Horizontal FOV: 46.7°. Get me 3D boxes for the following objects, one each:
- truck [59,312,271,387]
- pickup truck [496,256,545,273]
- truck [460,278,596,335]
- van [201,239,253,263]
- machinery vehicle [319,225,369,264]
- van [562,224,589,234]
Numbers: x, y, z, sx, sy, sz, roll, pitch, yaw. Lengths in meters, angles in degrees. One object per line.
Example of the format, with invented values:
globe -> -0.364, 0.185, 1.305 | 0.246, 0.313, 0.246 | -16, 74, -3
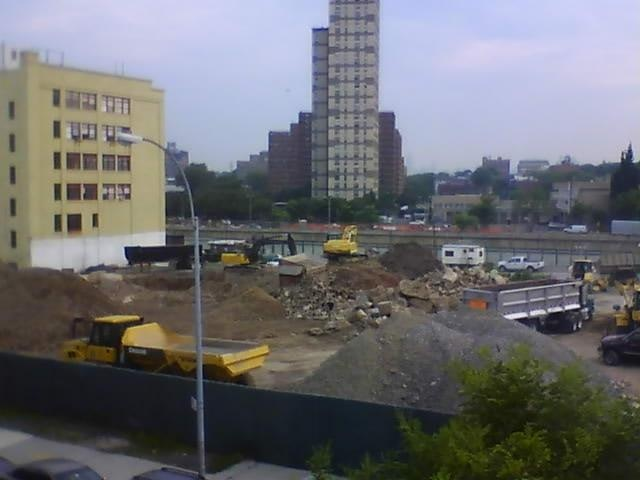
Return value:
truck -> -6.252, 4.490, 30.343 | 7.743, 3.102, 3.391 | 5, 4, 20
pickup truck -> 16.500, 2.135, 61.393 | 3.305, 1.342, 1.560 | 3, 4, 30
truck -> 10.109, 3.293, 35.606 | 6.186, 2.590, 3.514 | 0, 1, -39
van -> -6.974, 1.047, 57.503 | 2.696, 1.324, 2.022 | 0, 4, 12
machinery vehicle -> 1.980, 0.321, 61.775 | 2.333, 2.753, 4.417 | -1, 3, 18
van -> 29.393, -0.846, 85.603 | 2.762, 1.097, 1.578 | 4, 6, 24
